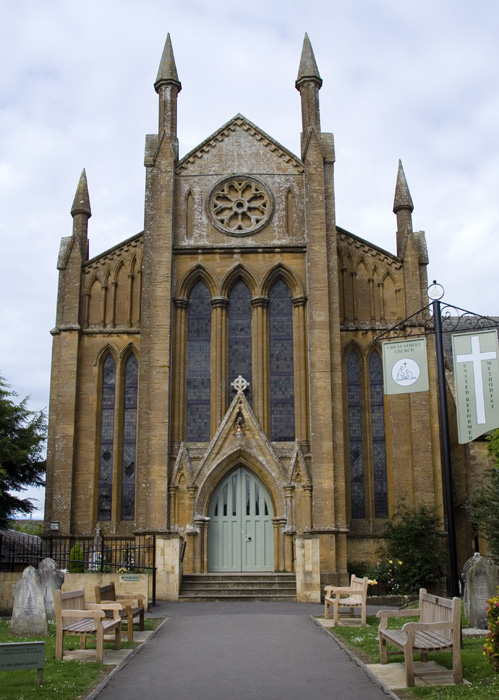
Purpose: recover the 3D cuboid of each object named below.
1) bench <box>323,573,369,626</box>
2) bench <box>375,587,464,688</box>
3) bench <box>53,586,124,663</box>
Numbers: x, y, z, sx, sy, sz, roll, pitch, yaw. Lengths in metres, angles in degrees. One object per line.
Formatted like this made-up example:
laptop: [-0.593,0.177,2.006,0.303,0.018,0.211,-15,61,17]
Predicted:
bench: [1.932,4.993,14.166,0.607,0.899,1.499,2,-16,0]
bench: [2.072,3.489,8.699,0.650,0.943,1.624,1,-16,-1]
bench: [-2.334,4.001,10.461,0.721,0.908,1.601,0,-14,-1]
